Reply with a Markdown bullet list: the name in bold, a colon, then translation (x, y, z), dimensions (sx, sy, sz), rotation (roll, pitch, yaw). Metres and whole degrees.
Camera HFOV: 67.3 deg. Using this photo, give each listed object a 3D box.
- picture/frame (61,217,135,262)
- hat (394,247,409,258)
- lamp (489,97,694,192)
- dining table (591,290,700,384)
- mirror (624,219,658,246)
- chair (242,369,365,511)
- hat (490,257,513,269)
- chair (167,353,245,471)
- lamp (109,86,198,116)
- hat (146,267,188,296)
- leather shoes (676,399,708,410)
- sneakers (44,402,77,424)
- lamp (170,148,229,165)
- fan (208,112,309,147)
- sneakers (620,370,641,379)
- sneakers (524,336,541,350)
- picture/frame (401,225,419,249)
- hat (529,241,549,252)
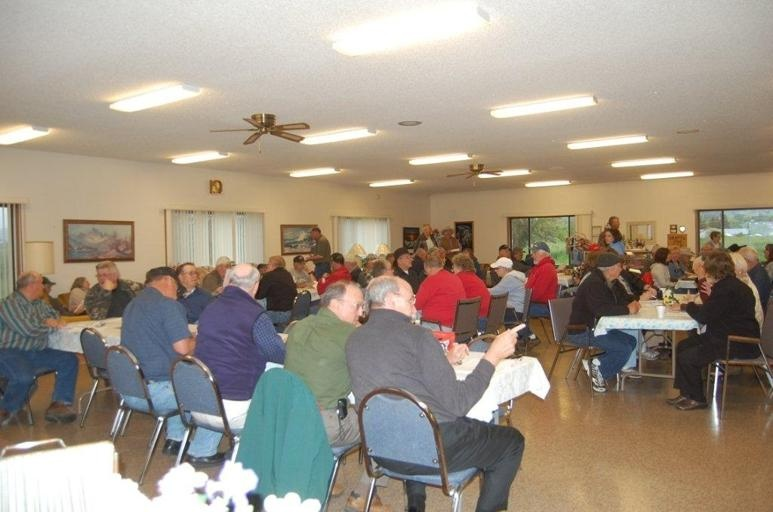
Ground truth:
- **picture/frame**: translation (-4.984, -0.297, 9.870), dimensions (0.035, 0.549, 0.918), rotation (-2, -1, 42)
- **hat**: translation (0.282, -0.087, 11.552), dimensions (0.261, 0.134, 0.256), rotation (-4, -6, 31)
- **lamp**: translation (3.582, -1.868, 9.434), dimensions (1.335, 1.342, 6.111), rotation (9, 17, 35)
- **dining table**: translation (2.896, 0.719, 6.545), dimensions (1.071, 0.617, 1.403), rotation (-2, -1, 24)
- **mirror**: translation (6.213, -0.591, 14.089), dimensions (0.834, 0.768, 0.085), rotation (0, 0, 38)
- **chair**: translation (-0.633, 1.092, 3.508), dimensions (0.571, 0.792, 0.343), rotation (-3, 16, -2)
- **hat**: translation (1.734, 0.101, 8.738), dimensions (0.301, 0.132, 0.200), rotation (5, 1, 9)
- **chair**: translation (-1.439, 1.228, 4.453), dimensions (0.682, 0.993, 0.302), rotation (7, 19, 32)
- **lamp**: translation (-2.612, -1.802, 6.558), dimensions (1.198, 0.232, 0.351), rotation (6, 16, 28)
- **hat**: translation (-2.200, 0.252, 5.817), dimensions (0.341, 0.302, 0.265), rotation (-23, 11, -39)
- **leather shoes**: translation (3.156, 1.541, 6.011), dimensions (0.328, 0.100, 0.111), rotation (2, -2, 5)
- **sneakers**: translation (-3.428, 1.643, 6.079), dimensions (0.206, 0.079, 0.172), rotation (-7, 42, -18)
- **lamp**: translation (-3.218, -1.741, 10.097), dimensions (0.818, 0.269, 1.294), rotation (-13, 17, -38)
- **fan**: translation (-1.427, -1.570, 6.963), dimensions (1.043, 0.152, 1.055), rotation (-6, -7, 36)
- **sneakers**: translation (2.918, 1.403, 6.925), dimensions (0.171, 0.075, 0.234), rotation (2, -5, -25)
- **sneakers**: translation (2.159, 1.287, 8.621), dimensions (0.308, 0.160, 0.289), rotation (12, -6, -22)
- **picture/frame**: translation (0.608, -0.540, 16.014), dimensions (0.070, 0.638, 0.872), rotation (-1, 0, 33)
- **hat**: translation (2.407, -0.142, 8.981), dimensions (0.350, 0.152, 0.236), rotation (6, 2, 2)
